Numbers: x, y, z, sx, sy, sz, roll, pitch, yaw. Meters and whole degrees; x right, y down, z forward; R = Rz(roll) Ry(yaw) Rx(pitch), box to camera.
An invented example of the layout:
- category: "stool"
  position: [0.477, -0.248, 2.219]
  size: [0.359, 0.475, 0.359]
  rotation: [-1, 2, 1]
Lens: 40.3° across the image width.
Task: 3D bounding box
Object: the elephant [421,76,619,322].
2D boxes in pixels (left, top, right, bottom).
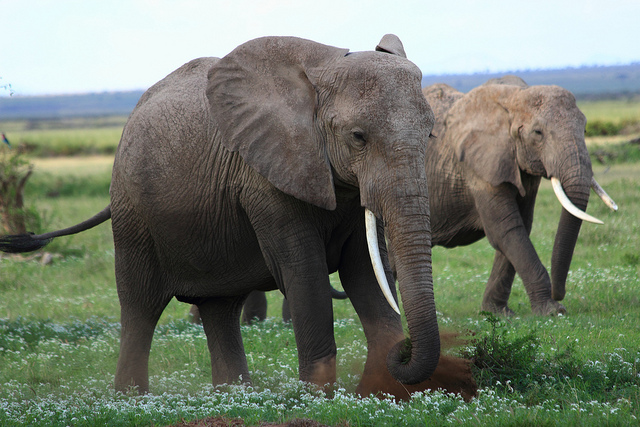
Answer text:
- category: "elephant"
  position: [2.804, -0.100, 14.757]
  size: [2.235, 3.932, 4.173]
  rotation: [-7, 4, -37]

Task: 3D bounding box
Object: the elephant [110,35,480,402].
- category: "elephant"
  position: [-0.557, 0.278, 11.376]
  size: [5.212, 4.669, 2.702]
  rotation: [-1, 3, 35]
